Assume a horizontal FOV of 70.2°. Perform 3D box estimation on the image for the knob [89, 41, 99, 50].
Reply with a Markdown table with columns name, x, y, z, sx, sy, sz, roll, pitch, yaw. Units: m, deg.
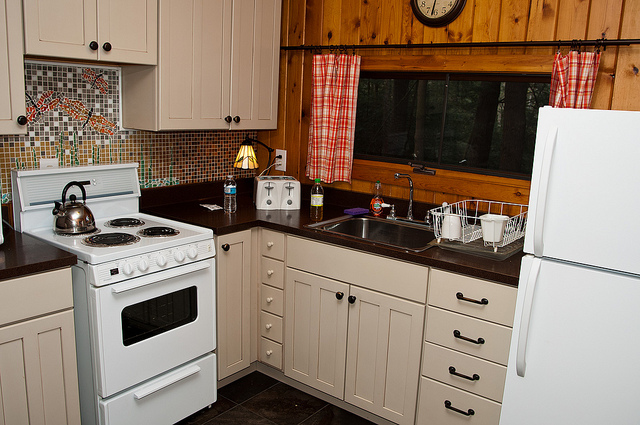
| name | x | y | z | sx | sy | sz | roll | pitch | yaw |
| --- | --- | --- | --- | --- | --- | --- | --- | --- | --- |
| knob | -1.396 | -1.020 | 2.800 | 0.022 | 0.044 | 0.043 | 7 | -4 | 37 |

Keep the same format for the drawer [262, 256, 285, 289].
| name | x | y | z | sx | sy | sz | roll | pitch | yaw |
| --- | --- | --- | --- | --- | --- | --- | --- | --- | --- |
| drawer | -0.336 | 0.421 | 3.292 | 0.201 | 0.201 | 0.159 | 10 | 13 | 40 |

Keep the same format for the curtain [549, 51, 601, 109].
| name | x | y | z | sx | sy | sz | roll | pitch | yaw |
| --- | --- | --- | --- | --- | --- | --- | --- | --- | --- |
| curtain | 1.568 | -0.816 | 2.807 | 0.257 | 0.333 | 0.151 | 7 | 17 | 29 |

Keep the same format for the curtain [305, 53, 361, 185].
| name | x | y | z | sx | sy | sz | roll | pitch | yaw |
| --- | --- | --- | --- | --- | --- | --- | --- | --- | --- |
| curtain | 0.091 | -0.732 | 3.605 | 0.428 | 0.983 | 0.179 | 0 | 15 | 2 |

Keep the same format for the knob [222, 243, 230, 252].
| name | x | y | z | sx | sy | sz | roll | pitch | yaw |
| --- | --- | --- | --- | --- | --- | --- | --- | --- | --- |
| knob | -0.639 | 0.235 | 3.093 | 0.060 | 0.056 | 0.030 | -14 | 20 | -41 |

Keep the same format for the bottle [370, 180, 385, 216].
| name | x | y | z | sx | sy | sz | roll | pitch | yaw |
| --- | --- | --- | --- | --- | --- | --- | --- | --- | --- |
| bottle | 0.435 | -0.115 | 3.470 | 0.108 | 0.245 | 0.203 | 1 | 15 | 9 |

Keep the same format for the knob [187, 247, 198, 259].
| name | x | y | z | sx | sy | sz | roll | pitch | yaw |
| --- | --- | --- | --- | --- | --- | --- | --- | --- | --- |
| knob | -0.788 | 0.245 | 2.836 | 0.055 | 0.065 | 0.021 | 4 | -9 | -44 |

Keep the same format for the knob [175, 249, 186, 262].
| name | x | y | z | sx | sy | sz | roll | pitch | yaw |
| --- | --- | --- | --- | --- | --- | --- | --- | --- | --- |
| knob | -0.863 | 0.260 | 2.803 | 0.021 | 0.062 | 0.063 | -2 | -1 | 30 |

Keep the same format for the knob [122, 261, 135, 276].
| name | x | y | z | sx | sy | sz | roll | pitch | yaw |
| --- | --- | --- | --- | --- | --- | --- | --- | --- | --- |
| knob | -1.096 | 0.312 | 2.595 | 0.025 | 0.069 | 0.071 | -9 | -10 | 10 |

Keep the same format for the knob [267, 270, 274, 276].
| name | x | y | z | sx | sy | sz | roll | pitch | yaw |
| --- | --- | --- | --- | --- | --- | --- | --- | --- | --- |
| knob | -0.364 | 0.428 | 3.306 | 0.028 | 0.040 | 0.010 | 6 | -6 | 14 |

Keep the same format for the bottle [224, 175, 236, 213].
| name | x | y | z | sx | sy | sz | roll | pitch | yaw |
| --- | --- | --- | --- | --- | --- | --- | --- | --- | --- |
| bottle | -0.690 | -0.148 | 3.427 | 0.086 | 0.263 | 0.165 | -4 | 15 | -11 |

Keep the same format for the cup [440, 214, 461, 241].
| name | x | y | z | sx | sy | sz | roll | pitch | yaw |
| --- | --- | --- | --- | --- | --- | --- | --- | --- | --- |
| cup | 0.822 | 0.088 | 2.848 | 0.168 | 0.164 | 0.102 | 7 | 10 | 41 |

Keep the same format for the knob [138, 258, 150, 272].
| name | x | y | z | sx | sy | sz | roll | pitch | yaw |
| --- | --- | --- | --- | --- | --- | --- | --- | --- | --- |
| knob | -1.031 | 0.298 | 2.652 | 0.015 | 0.059 | 0.062 | -13 | 6 | 33 |

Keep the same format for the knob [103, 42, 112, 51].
| name | x | y | z | sx | sy | sz | roll | pitch | yaw |
| --- | --- | --- | --- | --- | --- | --- | --- | --- | --- |
| knob | -1.336 | -1.030 | 2.845 | 0.046 | 0.047 | 0.015 | 1 | 8 | -45 |

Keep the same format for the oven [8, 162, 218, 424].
| name | x | y | z | sx | sy | sz | roll | pitch | yaw |
| --- | --- | --- | --- | --- | --- | --- | --- | --- | --- |
| oven | -1.222 | 0.505 | 3.002 | 0.947 | 1.575 | 0.843 | -15 | 20 | -42 |

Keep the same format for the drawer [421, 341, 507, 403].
| name | x | y | z | sx | sy | sz | roll | pitch | yaw |
| --- | --- | --- | --- | --- | --- | --- | --- | --- | --- |
| drawer | 1.071 | 0.948 | 2.935 | 0.516 | 0.219 | 0.705 | 5 | 1 | 45 |

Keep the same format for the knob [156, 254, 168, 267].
| name | x | y | z | sx | sy | sz | roll | pitch | yaw |
| --- | --- | --- | --- | --- | --- | --- | --- | --- | --- |
| knob | -0.953 | 0.284 | 2.738 | 0.034 | 0.077 | 0.070 | 6 | 16 | 24 |

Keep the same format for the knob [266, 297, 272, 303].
| name | x | y | z | sx | sy | sz | roll | pitch | yaw |
| --- | --- | --- | --- | --- | --- | --- | --- | --- | --- |
| knob | -0.375 | 0.633 | 3.339 | 0.028 | 0.038 | 0.010 | 8 | -3 | 12 |

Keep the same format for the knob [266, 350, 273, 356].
| name | x | y | z | sx | sy | sz | roll | pitch | yaw |
| --- | --- | --- | --- | --- | --- | --- | --- | --- | --- |
| knob | -0.386 | 1.035 | 3.394 | 0.026 | 0.037 | 0.009 | 3 | -4 | 15 |
